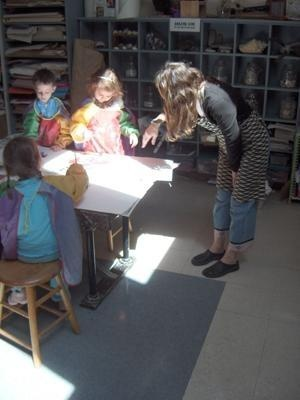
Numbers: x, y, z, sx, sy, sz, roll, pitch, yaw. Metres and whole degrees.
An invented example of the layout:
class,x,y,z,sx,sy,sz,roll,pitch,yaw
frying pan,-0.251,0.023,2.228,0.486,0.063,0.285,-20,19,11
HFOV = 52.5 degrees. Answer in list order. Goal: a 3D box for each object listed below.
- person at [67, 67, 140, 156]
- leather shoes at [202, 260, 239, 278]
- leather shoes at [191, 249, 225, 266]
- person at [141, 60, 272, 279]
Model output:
class,x,y,z,sx,sy,sz,roll,pitch,yaw
person,-0.353,-0.562,2.367,0.497,0.759,0.436,-7,39,-16
leather shoes,0.484,0.491,2.139,0.262,0.096,0.097,-12,26,-13
leather shoes,0.418,0.437,2.275,0.259,0.103,0.092,-9,31,-9
person,0.365,-0.149,1.904,0.694,1.257,0.462,-6,22,3
